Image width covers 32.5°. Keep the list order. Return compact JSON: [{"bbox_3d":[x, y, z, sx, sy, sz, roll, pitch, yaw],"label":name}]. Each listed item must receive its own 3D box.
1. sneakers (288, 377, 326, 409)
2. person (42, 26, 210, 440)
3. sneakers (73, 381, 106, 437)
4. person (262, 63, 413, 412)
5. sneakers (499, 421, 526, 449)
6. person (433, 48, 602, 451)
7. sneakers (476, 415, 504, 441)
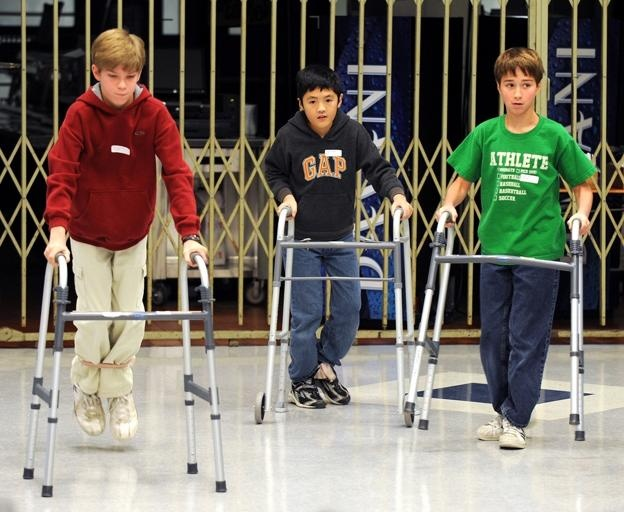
[{"bbox_3d":[-0.029,0.752,5.838,0.094,0.155,0.239,1,-2,-30],"label":"sneakers"},{"bbox_3d":[-0.859,-0.069,4.790,0.661,1.799,0.725,-1,-3,-15],"label":"person"},{"bbox_3d":[-1.026,0.720,4.960,0.101,0.267,0.109,-17,4,-15],"label":"sneakers"},{"bbox_3d":[0.104,-0.116,5.813,0.710,1.876,0.549,-1,-3,-3],"label":"person"},{"bbox_3d":[0.944,0.838,5.031,0.126,0.123,0.180,-2,-2,11],"label":"sneakers"},{"bbox_3d":[0.994,-0.059,5.154,0.749,1.917,0.385,-2,-3,15],"label":"person"},{"bbox_3d":[0.852,0.834,5.161,0.138,0.092,0.079,2,1,-21],"label":"sneakers"}]
